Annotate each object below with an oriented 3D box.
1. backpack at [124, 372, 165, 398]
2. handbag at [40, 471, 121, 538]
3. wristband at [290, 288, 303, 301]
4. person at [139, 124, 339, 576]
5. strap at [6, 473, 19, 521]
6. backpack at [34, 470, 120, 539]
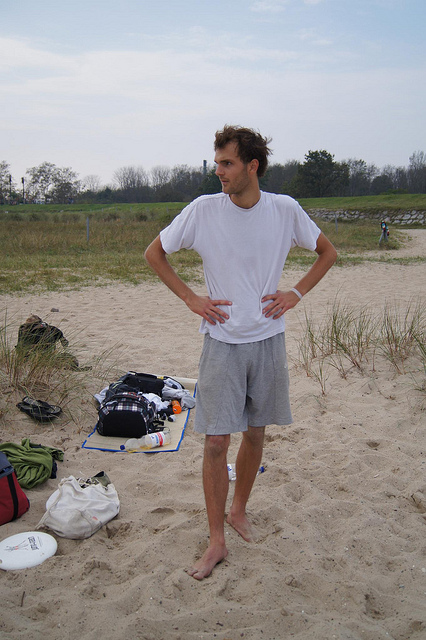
[{"bbox_3d":[-0.566,0.536,4.936,0.205,0.108,0.258,11,-1,-2],"label":"backpack"},{"bbox_3d":[-0.729,0.993,3.249,0.396,0.183,0.553,11,9,8],"label":"handbag"},{"bbox_3d":[0.390,-0.121,2.749,0.015,0.053,0.057,-36,-35,0],"label":"wristband"},{"bbox_3d":[0.168,0.140,2.704,0.779,1.969,0.465,-5,13,-14],"label":"person"},{"bbox_3d":[-1.061,0.941,3.127,0.015,0.267,0.052,8,16,35],"label":"strap"},{"bbox_3d":[-0.735,0.985,3.248,0.390,0.191,0.584,14,9,8],"label":"backpack"}]
